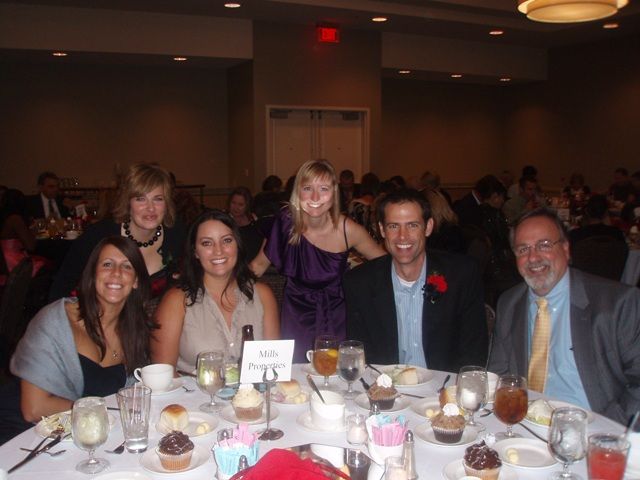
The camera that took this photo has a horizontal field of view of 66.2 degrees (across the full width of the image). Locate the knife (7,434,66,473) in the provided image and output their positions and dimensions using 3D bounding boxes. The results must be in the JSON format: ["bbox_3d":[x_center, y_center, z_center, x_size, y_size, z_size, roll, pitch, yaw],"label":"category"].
[{"bbox_3d":[-0.976,0.740,1.724,0.213,0.032,0.030,-32,24,-31],"label":"knife"}]

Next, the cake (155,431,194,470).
[{"bbox_3d":[-0.480,0.711,1.637,0.104,0.097,0.108,1,1,-6],"label":"cake"}]

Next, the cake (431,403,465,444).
[{"bbox_3d":[0.462,0.686,1.822,0.108,0.115,0.128,2,-12,-4],"label":"cake"}]

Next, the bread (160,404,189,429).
[{"bbox_3d":[-0.553,0.671,1.872,0.084,0.086,0.084,-2,9,-32],"label":"bread"}]

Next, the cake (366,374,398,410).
[{"bbox_3d":[0.256,0.625,2.065,0.128,0.155,0.129,0,2,-15],"label":"cake"}]

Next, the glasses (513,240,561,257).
[{"bbox_3d":[1.112,0.049,2.520,0.217,0.103,0.097,4,8,25],"label":"glasses"}]

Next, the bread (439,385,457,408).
[{"bbox_3d":[0.515,0.623,1.986,0.087,0.088,0.093,-1,5,12],"label":"bread"}]

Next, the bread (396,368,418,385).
[{"bbox_3d":[0.402,0.626,2.239,0.071,0.067,0.074,-1,-11,-8],"label":"bread"}]

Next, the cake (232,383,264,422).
[{"bbox_3d":[-0.279,0.643,1.988,0.125,0.129,0.130,1,4,6],"label":"cake"}]
